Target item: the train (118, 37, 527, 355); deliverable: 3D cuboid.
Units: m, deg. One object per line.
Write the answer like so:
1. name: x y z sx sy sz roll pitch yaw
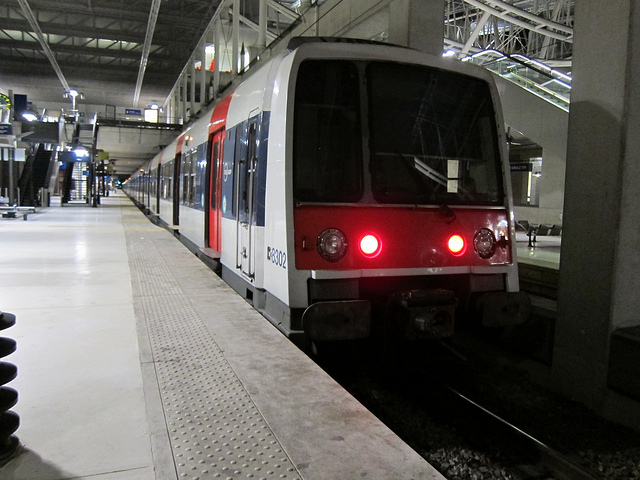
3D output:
1. train: -1.080 -0.938 8.977 2.177 2.180 10.101 -1 6 -19

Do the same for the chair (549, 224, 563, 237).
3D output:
1. chair: 7.022 -0.287 13.828 0.266 0.341 0.314 3 39 8

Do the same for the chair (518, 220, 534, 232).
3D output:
1. chair: 7.321 -0.519 16.537 0.424 0.329 0.438 -1 3 -18
